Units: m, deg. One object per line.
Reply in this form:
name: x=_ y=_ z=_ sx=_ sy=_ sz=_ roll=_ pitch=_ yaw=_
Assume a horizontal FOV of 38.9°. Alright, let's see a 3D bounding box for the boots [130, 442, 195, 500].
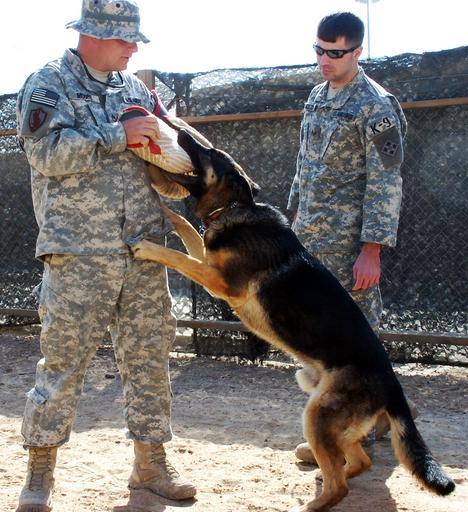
boots: x=-0.364 y=1.100 z=3.436 sx=0.458 sy=0.234 sz=0.166 roll=0 pitch=-1 yaw=45
